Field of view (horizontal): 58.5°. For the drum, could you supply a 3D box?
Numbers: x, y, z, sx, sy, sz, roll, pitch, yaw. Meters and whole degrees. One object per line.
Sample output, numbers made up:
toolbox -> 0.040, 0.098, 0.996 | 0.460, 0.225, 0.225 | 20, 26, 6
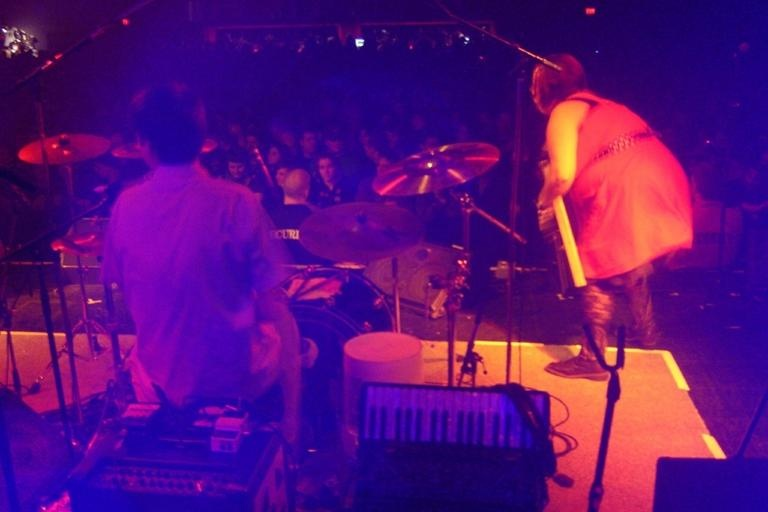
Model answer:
drum -> -0.449, 0.730, 5.835 | 1.288, 1.238, 1.302 | 10, 34, 20

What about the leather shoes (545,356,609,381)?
leather shoes -> 1.765, 0.999, 6.432 | 0.672, 0.277, 0.242 | 3, -1, 15
